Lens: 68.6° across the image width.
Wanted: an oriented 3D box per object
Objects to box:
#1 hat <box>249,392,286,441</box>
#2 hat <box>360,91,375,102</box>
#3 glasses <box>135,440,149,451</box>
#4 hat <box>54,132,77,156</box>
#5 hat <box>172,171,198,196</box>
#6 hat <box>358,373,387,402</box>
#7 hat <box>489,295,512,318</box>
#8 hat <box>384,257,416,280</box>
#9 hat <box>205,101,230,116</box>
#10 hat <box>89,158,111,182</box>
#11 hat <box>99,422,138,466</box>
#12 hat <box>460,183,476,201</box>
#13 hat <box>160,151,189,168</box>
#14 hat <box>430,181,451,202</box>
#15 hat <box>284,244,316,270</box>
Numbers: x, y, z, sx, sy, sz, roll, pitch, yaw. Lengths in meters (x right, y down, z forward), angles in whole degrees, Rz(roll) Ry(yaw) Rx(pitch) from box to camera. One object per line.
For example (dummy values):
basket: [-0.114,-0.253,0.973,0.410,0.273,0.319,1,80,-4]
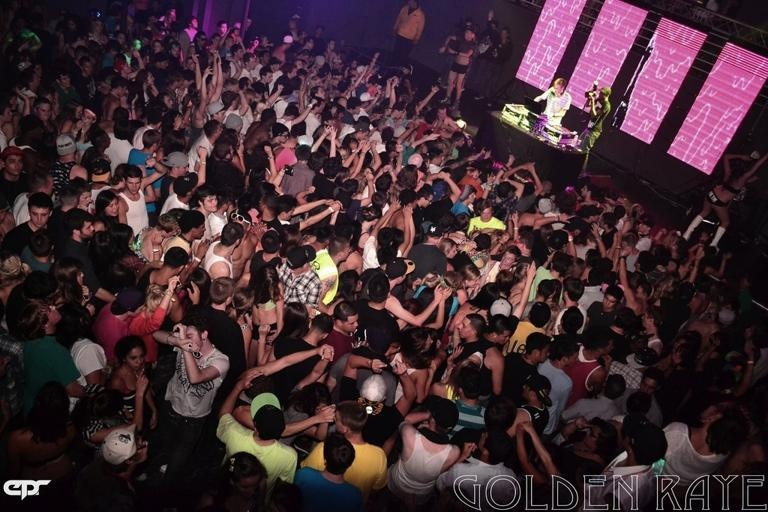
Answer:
hat: [-1.383,1.864,6.659,0.326,0.334,0.533,8,24,-26]
hat: [-0.400,-3.958,13.881,0.341,0.211,0.324,-23,-6,-1]
glasses: [-2.809,2.181,6.543,0.134,0.132,0.166,12,-10,-37]
hat: [-4.946,-1.731,8.810,0.261,0.284,0.352,-1,45,-22]
hat: [-2.975,-1.090,8.557,0.273,0.195,0.377,34,82,27]
hat: [-0.140,1.669,6.943,0.291,0.274,0.333,11,49,1]
hat: [1.737,0.754,8.312,0.278,0.228,0.349,27,23,21]
hat: [0.242,0.180,8.175,0.410,0.151,0.252,-21,68,-7]
hat: [-3.175,-2.814,10.688,0.307,0.157,0.223,-25,41,-11]
hat: [-4.302,-1.246,8.570,0.300,0.244,0.420,-1,56,-27]
hat: [-2.946,2.102,6.393,0.315,0.407,0.321,34,23,14]
hat: [1.516,-1.187,10.292,0.232,0.171,0.292,5,38,38]
hat: [-3.260,-1.512,8.848,0.290,0.083,0.280,-9,46,-23]
hat: [1.041,-1.229,10.425,0.369,0.391,0.414,7,58,3]
hat: [-1.161,-0.013,7.885,0.295,0.329,0.522,21,22,6]
